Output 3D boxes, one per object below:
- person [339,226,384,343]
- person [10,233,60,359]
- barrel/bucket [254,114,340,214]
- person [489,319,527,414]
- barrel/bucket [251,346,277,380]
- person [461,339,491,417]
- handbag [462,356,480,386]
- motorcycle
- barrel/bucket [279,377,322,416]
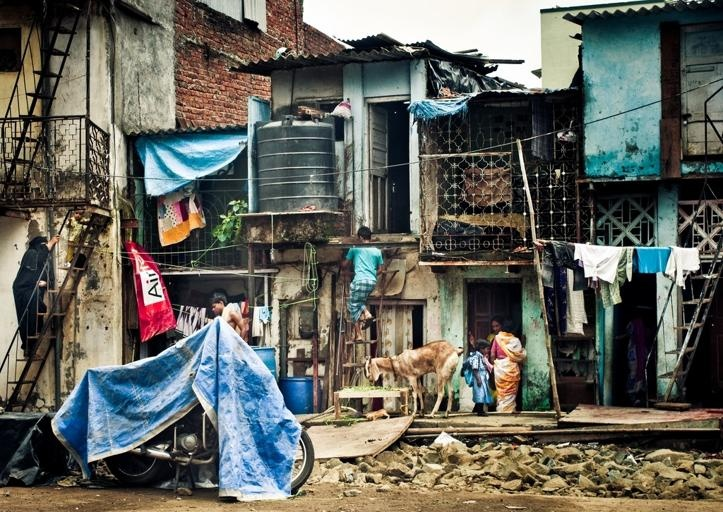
[{"bbox_3d":[0.015,0.533,31.881,0.811,2.393,0.944,1,-2,-1],"label":"person"},{"bbox_3d":[-7.211,0.608,31.719,1.070,2.551,1.114,4,25,-14],"label":"person"},{"bbox_3d":[-1.328,-2.010,32.965,1.830,2.262,1.939,-1,-5,0],"label":"barrel/bucket"},{"bbox_3d":[3.061,2.287,30.865,0.700,1.910,0.325,1,-2,4],"label":"person"},{"bbox_3d":[-2.118,2.284,31.885,0.482,0.682,1.427,1,-3,-2],"label":"barrel/bucket"},{"bbox_3d":[2.440,2.500,30.816,0.631,1.538,0.803,1,-2,5],"label":"person"},{"bbox_3d":[2.285,2.354,30.607,0.313,0.752,0.630,-5,-1,15],"label":"handbag"},{"bbox_3d":[-2.846,3.458,26.629,3.866,1.540,1.155,1,-2,-1],"label":"motorcycle"},{"bbox_3d":[-1.367,2.987,31.962,0.761,0.852,0.800,0,-8,0],"label":"barrel/bucket"}]
